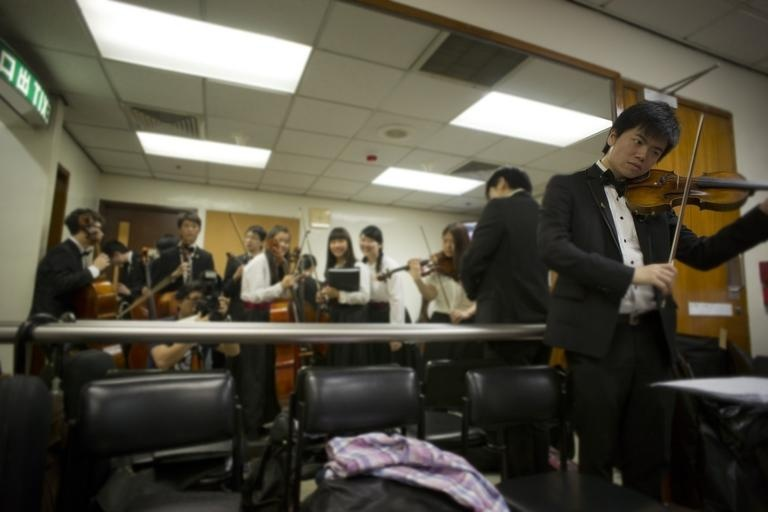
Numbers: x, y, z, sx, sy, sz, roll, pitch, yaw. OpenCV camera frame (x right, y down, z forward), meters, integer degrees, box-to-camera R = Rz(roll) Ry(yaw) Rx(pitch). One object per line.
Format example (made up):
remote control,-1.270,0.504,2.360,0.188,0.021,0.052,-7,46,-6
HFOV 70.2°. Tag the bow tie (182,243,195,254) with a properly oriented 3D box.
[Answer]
bow tie,-1.161,-0.038,3.222,0.053,0.053,0.015,-3,16,-36

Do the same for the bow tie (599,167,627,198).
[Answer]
bow tie,1.025,-0.316,2.454,0.112,0.113,0.038,48,-12,-28
